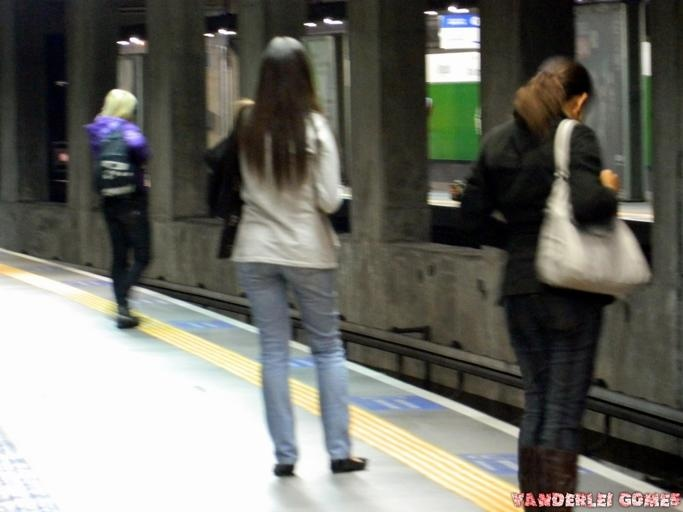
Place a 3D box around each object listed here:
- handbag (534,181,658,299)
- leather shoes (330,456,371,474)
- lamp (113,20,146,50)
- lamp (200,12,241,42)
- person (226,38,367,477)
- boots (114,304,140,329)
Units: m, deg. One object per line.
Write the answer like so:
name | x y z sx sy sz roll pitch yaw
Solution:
handbag | 0.946 -0.075 2.799 0.397 0.431 0.124 1 7 -11
leather shoes | 0.037 0.980 3.483 0.128 0.043 0.097 5 -12 -31
lamp | -4.514 -4.787 15.925 0.576 0.638 0.788 1 7 -13
lamp | -2.298 -4.451 14.195 0.588 0.503 0.506 2 7 0
person | -0.186 0.049 3.308 0.609 2.012 0.244 2 7 -8
boots | -1.916 0.542 6.565 0.242 0.231 0.148 0 -9 -36
